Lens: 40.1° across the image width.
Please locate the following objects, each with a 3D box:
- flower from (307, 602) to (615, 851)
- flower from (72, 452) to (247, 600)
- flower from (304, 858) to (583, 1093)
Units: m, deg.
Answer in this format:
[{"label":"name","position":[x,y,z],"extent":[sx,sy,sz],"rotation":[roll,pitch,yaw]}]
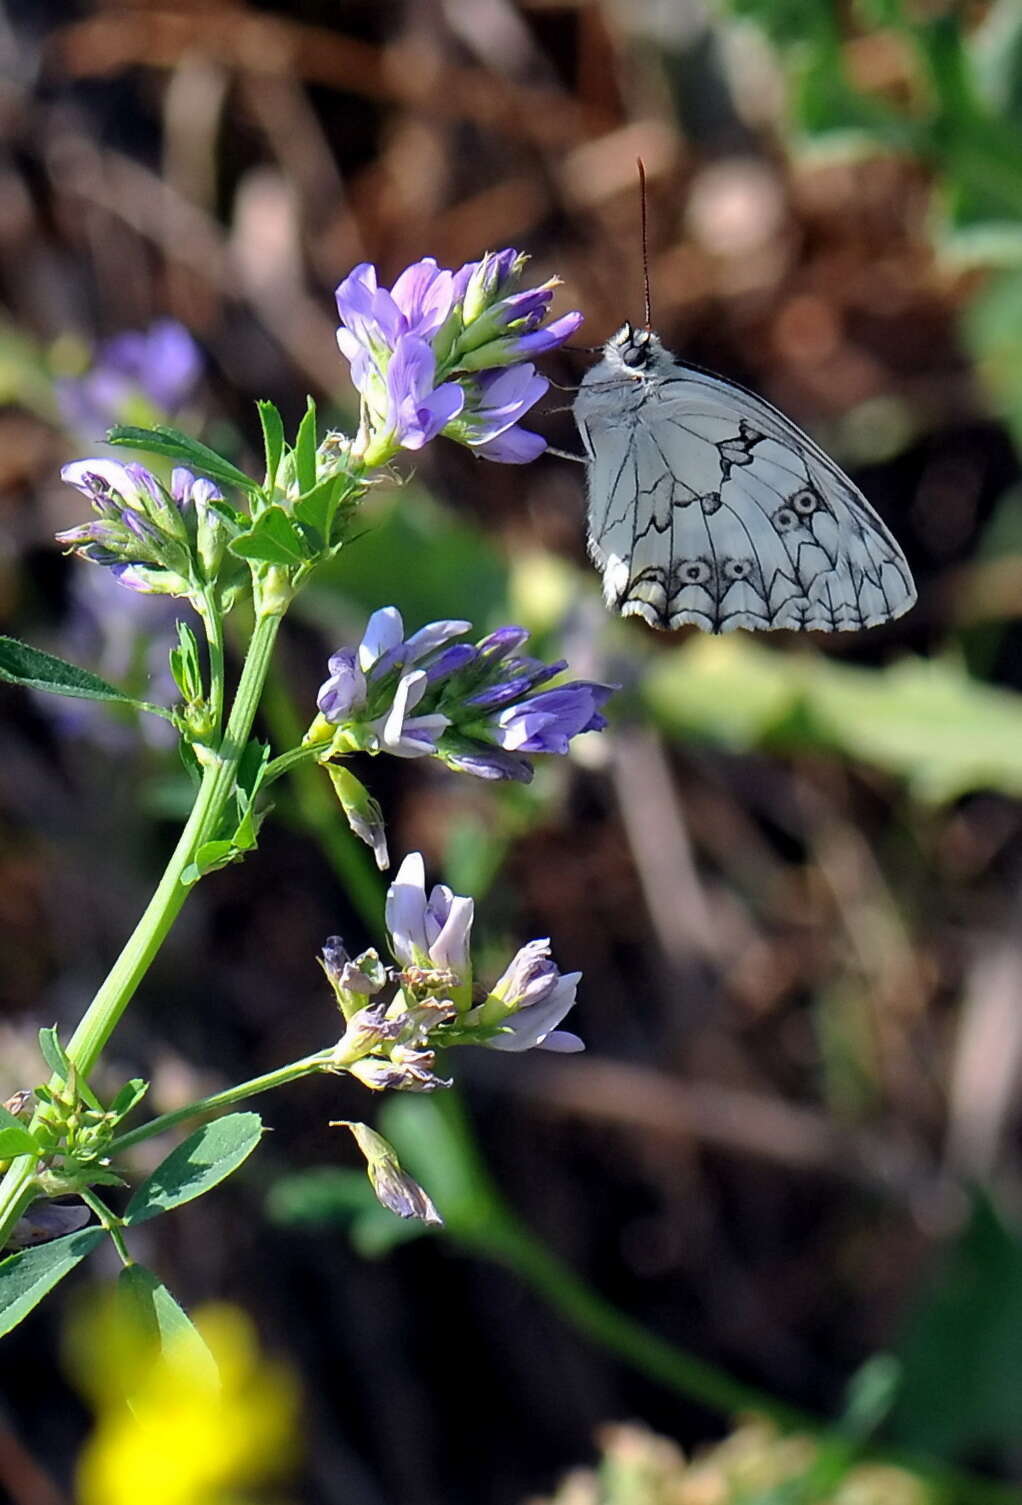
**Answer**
[{"label":"flower","position":[-0.082,-0.077,2.282],"extent":[0.480,0.220,0.322],"rotation":[-6,93,-21]},{"label":"flower","position":[-0.516,-0.336,2.177],"extent":[0.263,0.114,0.233],"rotation":[-22,85,-13]},{"label":"flower","position":[-0.117,0.396,2.287],"extent":[0.435,0.409,0.303],"rotation":[9,75,12]}]
